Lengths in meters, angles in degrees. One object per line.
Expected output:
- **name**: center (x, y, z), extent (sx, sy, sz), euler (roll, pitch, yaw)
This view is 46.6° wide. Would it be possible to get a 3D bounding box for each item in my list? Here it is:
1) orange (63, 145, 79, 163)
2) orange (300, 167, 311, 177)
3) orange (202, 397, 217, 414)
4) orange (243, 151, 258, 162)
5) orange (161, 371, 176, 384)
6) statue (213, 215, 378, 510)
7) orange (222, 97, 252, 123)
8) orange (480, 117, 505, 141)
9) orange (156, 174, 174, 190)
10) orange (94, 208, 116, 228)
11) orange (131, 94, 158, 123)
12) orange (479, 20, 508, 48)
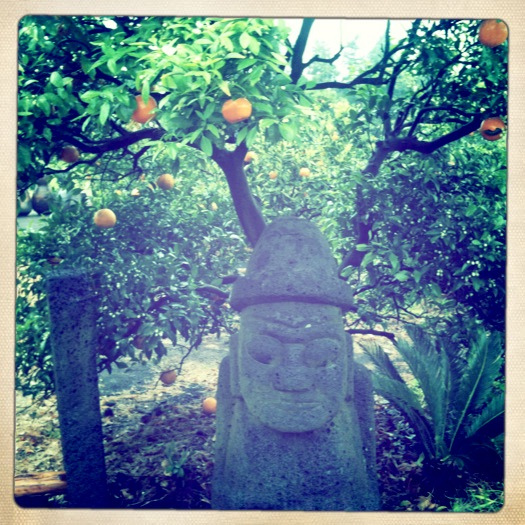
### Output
- **orange**: center (-1.150, -0.657, 3.668), extent (0.085, 0.078, 0.068), euler (16, -35, 4)
- **orange**: center (0.281, -0.582, 3.930), extent (0.060, 0.043, 0.061), euler (0, 13, 0)
- **orange**: center (-0.341, 0.925, 3.940), extent (0.083, 0.102, 0.147), euler (-3, -5, -8)
- **orange**: center (-0.074, -0.655, 3.820), extent (0.115, 0.058, 0.108), euler (-3, 9, -3)
- **orange**: center (-0.602, 0.750, 3.981), extent (0.111, 0.090, 0.086), euler (6, -26, -12)
- **statue**: center (0.118, 0.506, 3.167), extent (0.868, 1.519, 0.327), euler (-5, -6, 5)
- **orange**: center (-0.115, -0.758, 3.022), extent (0.155, 0.124, 0.104), euler (-2, -6, -11)
- **orange**: center (1.337, -0.792, 3.571), extent (0.159, 0.094, 0.125), euler (11, -37, 5)
- **orange**: center (-0.606, -0.505, 3.832), extent (0.109, 0.086, 0.090), euler (-3, -6, -10)
- **orange**: center (-0.939, -0.261, 3.657), extent (0.126, 0.116, 0.119), euler (-2, -6, -14)
- **orange**: center (-0.621, -0.814, 3.233), extent (0.177, 0.152, 0.140), euler (-3, 28, -1)
- **orange**: center (1.231, -1.233, 3.252), extent (0.132, 0.124, 0.160), euler (-6, -6, 17)
